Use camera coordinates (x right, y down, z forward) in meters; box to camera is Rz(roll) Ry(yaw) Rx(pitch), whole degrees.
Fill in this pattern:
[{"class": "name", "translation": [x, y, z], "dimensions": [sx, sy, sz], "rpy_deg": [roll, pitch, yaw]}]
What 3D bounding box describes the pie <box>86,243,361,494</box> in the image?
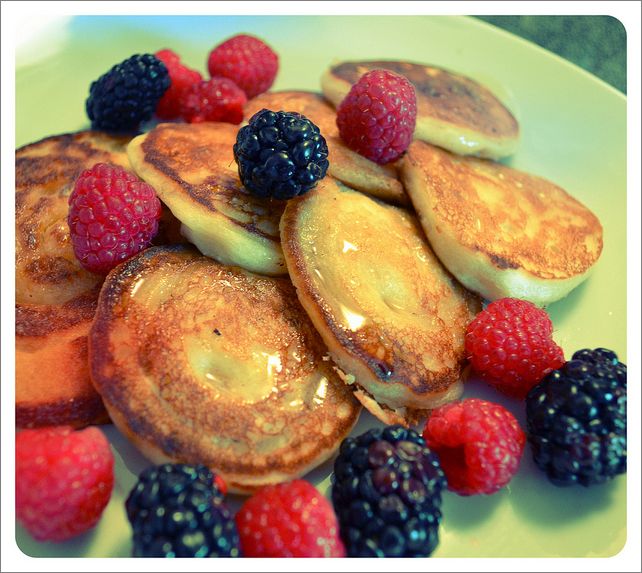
[{"class": "pie", "translation": [-0.327, 0.282, 1.756], "dimensions": [0.657, 0.180, 0.634], "rpy_deg": [29, 31, -2]}]
